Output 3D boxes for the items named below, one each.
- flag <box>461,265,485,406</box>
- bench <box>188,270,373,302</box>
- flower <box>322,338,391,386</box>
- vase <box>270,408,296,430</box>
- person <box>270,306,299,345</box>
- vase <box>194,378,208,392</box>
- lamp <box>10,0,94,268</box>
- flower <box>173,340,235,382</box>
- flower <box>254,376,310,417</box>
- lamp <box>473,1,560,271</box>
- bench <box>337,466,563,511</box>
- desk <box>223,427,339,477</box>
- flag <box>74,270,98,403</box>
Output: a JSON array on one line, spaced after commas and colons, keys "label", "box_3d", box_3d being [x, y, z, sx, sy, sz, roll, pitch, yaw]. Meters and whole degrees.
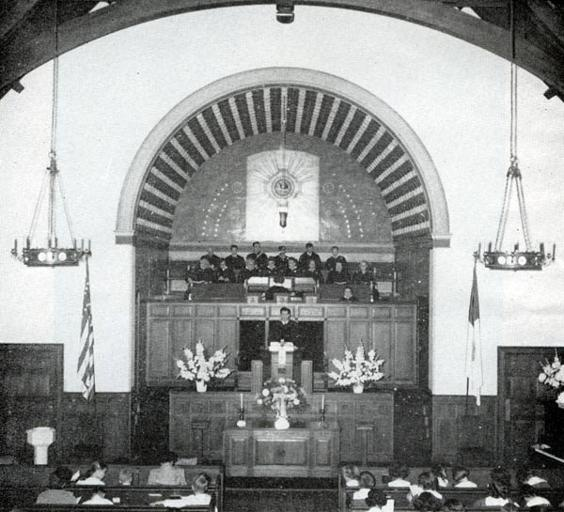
[{"label": "flag", "box_3d": [3.419, 1.410, 24.415, 0.327, 2.517, 0.239, -1, -8, 9]}, {"label": "bench", "box_3d": [-0.031, 0.656, 26.442, 3.454, 0.570, 0.873, 0, -9, -2]}, {"label": "flower", "box_3d": [1.344, 1.993, 25.052, 0.799, 0.663, 0.857, -1, -3, -5]}, {"label": "vase", "box_3d": [0.023, 2.833, 23.852, 0.307, 0.587, 0.321, 1, -2, 6]}, {"label": "person", "box_3d": [0.052, 1.311, 25.667, 0.564, 0.713, 0.773, 0, -8, -3]}, {"label": "vase", "box_3d": [-1.451, 2.338, 24.616, 0.193, 0.169, 0.183, -9, -12, 39]}, {"label": "lamp", "box_3d": [-4.006, -1.636, 24.060, 1.253, 3.793, 1.557, 1, -8, -11]}, {"label": "flower", "box_3d": [-1.451, 1.922, 25.154, 0.963, 0.844, 1.396, 1, -9, -5]}, {"label": "flower", "box_3d": [0.005, 2.483, 24.102, 0.659, 0.765, 0.743, 0, -11, 0]}, {"label": "lamp", "box_3d": [3.978, -1.898, 23.556, 1.433, 4.353, 2.357, -1, -8, 9]}, {"label": "bench", "box_3d": [2.605, 3.629, 21.193, 3.431, 0.672, 1.902, -1, -9, 2]}, {"label": "desk", "box_3d": [-0.039, 3.385, 24.631, 2.003, 0.822, 0.855, 1, 0, 1]}, {"label": "flag", "box_3d": [-3.469, 1.400, 24.422, 0.298, 2.306, 0.255, 1, -8, -9]}]
